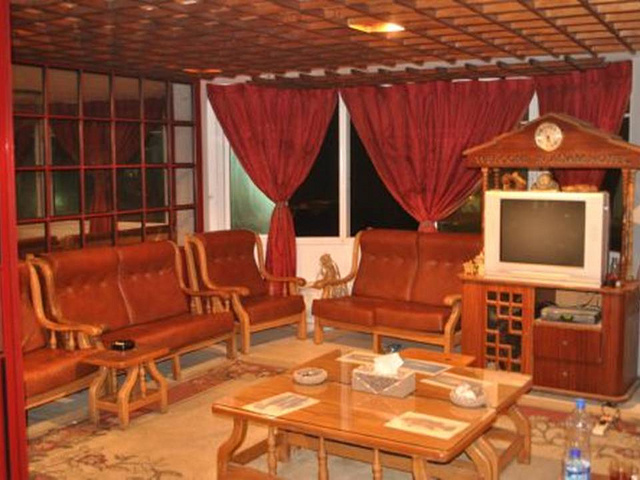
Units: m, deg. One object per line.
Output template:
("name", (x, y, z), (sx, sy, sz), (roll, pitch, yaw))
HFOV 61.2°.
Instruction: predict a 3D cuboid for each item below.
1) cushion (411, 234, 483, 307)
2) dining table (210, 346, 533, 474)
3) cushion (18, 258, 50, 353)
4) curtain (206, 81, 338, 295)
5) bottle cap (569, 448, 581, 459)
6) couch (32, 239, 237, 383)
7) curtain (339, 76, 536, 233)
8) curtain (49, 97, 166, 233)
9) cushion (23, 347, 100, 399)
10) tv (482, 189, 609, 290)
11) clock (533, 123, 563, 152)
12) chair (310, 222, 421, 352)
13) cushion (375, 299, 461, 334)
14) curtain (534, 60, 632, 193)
("cushion", (1.342, 0.320, 5.921), (0.677, 0.779, 0.291), (4, 10, 30))
("dining table", (0.494, 0.962, 3.381), (1.324, 0.482, 1.288), (5, 13, 32))
("cushion", (-2.374, 0.548, 4.482), (0.192, 0.697, 0.445), (-5, 10, -26))
("curtain", (-0.610, -0.699, 7.180), (1.610, 2.762, 0.436), (3, 10, 20))
("bottle cap", (1.254, 1.047, 2.668), (0.049, 0.050, 0.040), (2, 9, 18))
("couch", (-1.697, 0.688, 5.131), (1.080, 1.075, 1.797), (11, 9, 21))
("curtain", (1.322, -0.977, 6.432), (0.323, 1.817, 2.742), (-16, 18, -37))
("curtain", (-2.574, -0.828, 6.439), (0.165, 1.394, 1.599), (21, 13, 30))
("cushion", (-2.060, 0.976, 4.100), (0.389, 0.089, 0.406), (6, 8, 39))
("tv", (2.303, -0.043, 5.088), (0.714, 0.881, 1.255), (-2, 3, -31))
("clock", (2.056, -0.935, 4.902), (0.249, 0.225, 0.051), (22, 20, 32))
("chair", (0.566, 0.572, 6.177), (1.039, 1.192, 1.136), (3, 14, 37))
("cushion", (1.048, 0.802, 5.691), (0.837, 0.217, 0.613), (5, 9, 37))
("curtain", (2.677, -1.183, 5.654), (0.906, 1.246, 0.171), (7, 12, 42))
